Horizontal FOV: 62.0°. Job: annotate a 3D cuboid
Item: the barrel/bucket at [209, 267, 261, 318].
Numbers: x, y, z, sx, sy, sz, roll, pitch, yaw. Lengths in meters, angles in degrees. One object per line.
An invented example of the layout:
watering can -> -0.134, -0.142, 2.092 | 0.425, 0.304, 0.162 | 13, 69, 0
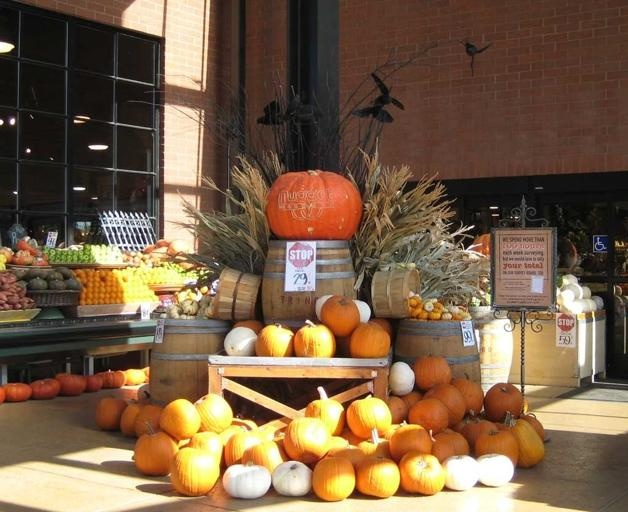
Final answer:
barrel/bucket -> -0.459, 0.246, 3.282 | 0.263, 0.306, 0.287 | 5, -36, 3

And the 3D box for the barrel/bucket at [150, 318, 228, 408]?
barrel/bucket -> -0.786, 0.650, 3.386 | 0.522, 0.491, 0.525 | 1, -2, 0

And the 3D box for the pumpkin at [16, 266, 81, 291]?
pumpkin -> -2.656, 0.216, 5.123 | 0.583, 0.253, 0.409 | 5, -7, -41

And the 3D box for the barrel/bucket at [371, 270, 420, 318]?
barrel/bucket -> 0.519, 0.197, 3.293 | 0.262, 0.328, 0.285 | 1, -40, 1

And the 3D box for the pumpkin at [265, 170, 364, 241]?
pumpkin -> 0.013, -0.339, 3.376 | 0.523, 0.381, 0.493 | 2, 3, 9

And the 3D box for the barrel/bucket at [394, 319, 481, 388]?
barrel/bucket -> 0.750, 0.620, 3.334 | 0.452, 0.399, 0.436 | -3, -6, 0

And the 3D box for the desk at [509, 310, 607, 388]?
desk -> 2.741, 1.082, 5.803 | 1.080, 0.683, 1.021 | -6, -17, 32

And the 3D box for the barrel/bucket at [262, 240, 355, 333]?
barrel/bucket -> -0.012, 0.244, 3.404 | 0.696, 0.607, 0.659 | 2, -7, 0
